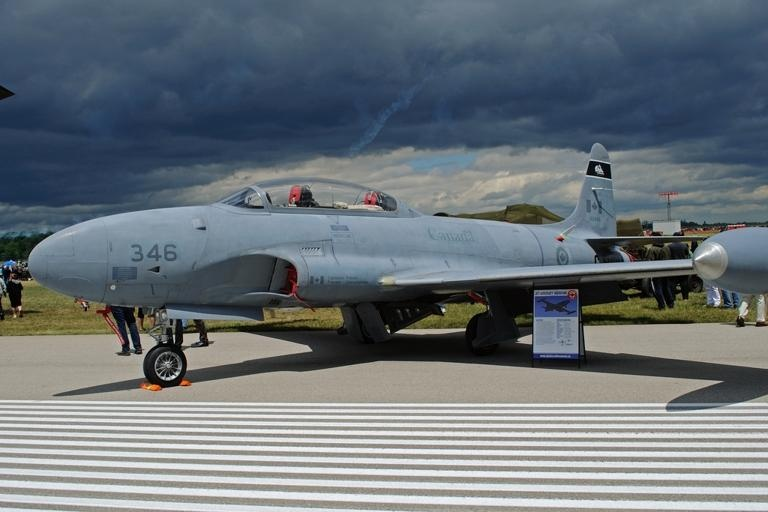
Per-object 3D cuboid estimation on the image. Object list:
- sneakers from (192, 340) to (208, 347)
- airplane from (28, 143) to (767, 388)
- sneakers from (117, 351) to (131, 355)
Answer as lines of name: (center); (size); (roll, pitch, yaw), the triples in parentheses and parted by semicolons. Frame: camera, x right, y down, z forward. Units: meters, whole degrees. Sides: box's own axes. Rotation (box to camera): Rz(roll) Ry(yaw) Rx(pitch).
sneakers: (-4.144, 1.902, 14.518); (0.386, 0.097, 0.138); (2, -1, 8)
airplane: (-0.328, 0.049, 11.514); (8.073, 1.806, 7.785); (-1, 1, -37)
sneakers: (-5.423, 1.951, 13.426); (0.273, 0.071, 0.093); (4, -1, 12)
